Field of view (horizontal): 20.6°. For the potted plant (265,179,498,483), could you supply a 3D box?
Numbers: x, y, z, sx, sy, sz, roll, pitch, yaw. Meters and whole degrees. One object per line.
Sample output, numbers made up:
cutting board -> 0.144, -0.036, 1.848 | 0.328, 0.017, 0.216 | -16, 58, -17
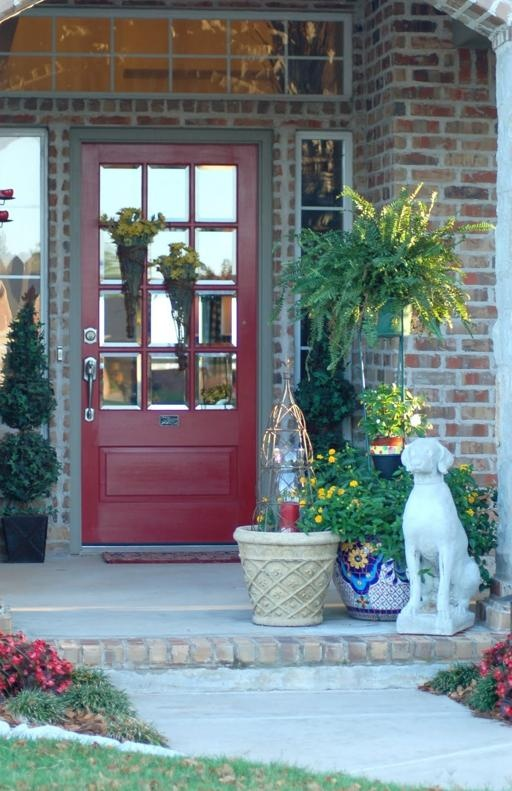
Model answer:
potted plant -> 0.422, -0.232, 5.921 | 1.057, 1.006, 0.955 | -1, 2, -3

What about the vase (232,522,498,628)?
vase -> 0.192, 0.655, 5.172 | 0.491, 0.380, 0.490 | 4, -8, -23

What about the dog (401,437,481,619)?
dog -> 0.665, 0.510, 5.177 | 0.299, 0.607, 0.264 | -1, 1, 8
